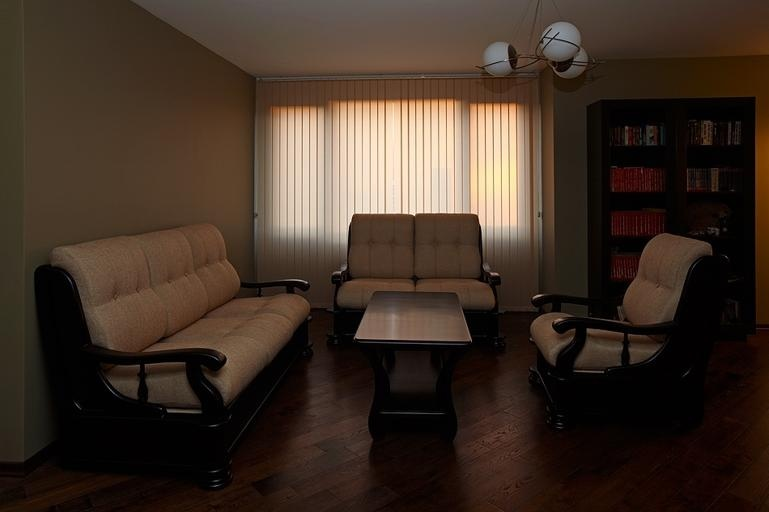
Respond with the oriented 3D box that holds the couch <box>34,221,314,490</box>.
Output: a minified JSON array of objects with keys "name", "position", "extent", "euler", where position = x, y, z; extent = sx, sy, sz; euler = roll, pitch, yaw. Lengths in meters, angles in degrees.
[{"name":"couch","position":[-1.468,0.584,3.988],"extent":[1.292,1.478,1.486],"euler":[0,8,14]}]

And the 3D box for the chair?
[{"name":"chair","position":[1.709,0.506,4.015],"extent":[1.182,1.257,0.918],"euler":[-2,9,6]}]

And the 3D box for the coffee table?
[{"name":"coffee table","position":[0.226,0.762,4.305],"extent":[0.788,0.675,1.493],"euler":[1,9,2]}]

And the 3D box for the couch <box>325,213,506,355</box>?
[{"name":"couch","position":[0.306,0.198,5.647],"extent":[1.670,1.229,1.133],"euler":[1,7,5]}]

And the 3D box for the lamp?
[{"name":"lamp","position":[1.318,-1.844,4.612],"extent":[0.643,0.750,0.683],"euler":[9,2,1]}]
